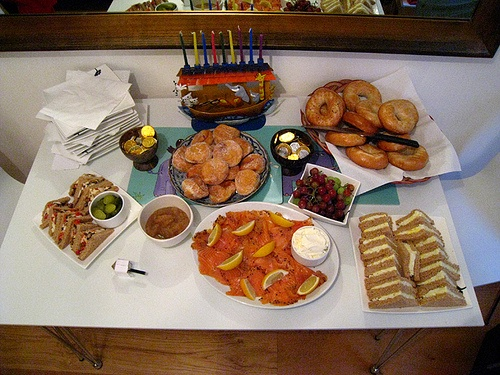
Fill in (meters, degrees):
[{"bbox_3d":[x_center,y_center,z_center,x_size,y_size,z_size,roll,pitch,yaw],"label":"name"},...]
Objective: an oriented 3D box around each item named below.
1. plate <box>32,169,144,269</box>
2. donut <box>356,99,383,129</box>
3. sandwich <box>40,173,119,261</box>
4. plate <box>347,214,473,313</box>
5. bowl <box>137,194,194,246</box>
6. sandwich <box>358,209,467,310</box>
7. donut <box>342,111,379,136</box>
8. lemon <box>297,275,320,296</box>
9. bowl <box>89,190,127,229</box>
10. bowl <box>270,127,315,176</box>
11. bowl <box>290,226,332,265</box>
[{"bbox_3d":[-0.965,0.196,2.360,0.576,0.195,0.562,34,79,22],"label":"plate"},{"bbox_3d":[0.788,-0.510,2.394,0.176,0.059,0.183,28,49,0],"label":"donut"},{"bbox_3d":[-1.072,0.201,2.257,0.478,0.157,0.443,40,83,23],"label":"sandwich"},{"bbox_3d":[0.919,0.418,2.123,0.623,0.199,0.738,6,50,14],"label":"plate"},{"bbox_3d":[-0.497,0.196,2.148,0.301,0.117,0.284,0,61,1],"label":"bowl"},{"bbox_3d":[0.930,0.411,2.092,0.588,0.152,0.551,-1,61,1],"label":"sandwich"},{"bbox_3d":[0.712,-0.416,2.348,0.055,0.161,0.166,-55,25,10],"label":"donut"},{"bbox_3d":[0.324,0.553,2.009,0.149,0.055,0.075,-38,67,-18],"label":"lemon"},{"bbox_3d":[-0.875,0.134,2.213,0.219,0.137,0.233,3,72,-10],"label":"bowl"},{"bbox_3d":[0.278,-0.258,2.363,0.268,0.231,0.311,-1,66,-1],"label":"bowl"},{"bbox_3d":[0.350,0.368,2.107,0.210,0.108,0.213,-2,65,5],"label":"bowl"}]
